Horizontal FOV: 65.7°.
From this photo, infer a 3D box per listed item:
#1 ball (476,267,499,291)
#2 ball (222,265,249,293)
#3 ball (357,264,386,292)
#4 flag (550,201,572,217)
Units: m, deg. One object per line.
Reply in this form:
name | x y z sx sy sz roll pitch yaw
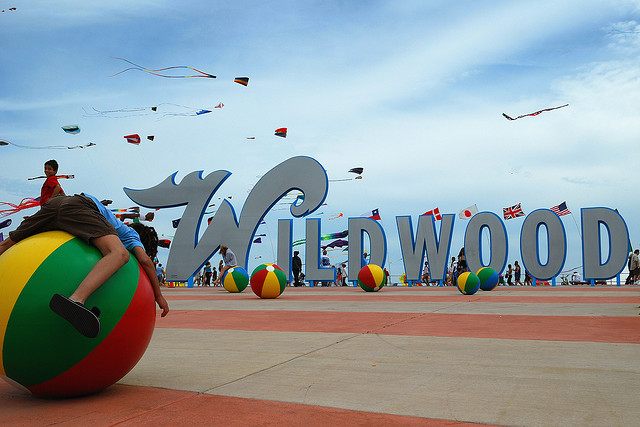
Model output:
ball | 6.328 2.541 18.910 0.847 0.895 0.550 1 -3 -10
ball | -3.171 2.508 18.701 0.811 0.949 0.715 1 -3 -18
ball | 1.943 2.481 18.851 0.941 0.947 0.510 0 -3 -3
flag | 10.242 -0.093 21.243 0.645 0.564 0.098 -4 -1 38
